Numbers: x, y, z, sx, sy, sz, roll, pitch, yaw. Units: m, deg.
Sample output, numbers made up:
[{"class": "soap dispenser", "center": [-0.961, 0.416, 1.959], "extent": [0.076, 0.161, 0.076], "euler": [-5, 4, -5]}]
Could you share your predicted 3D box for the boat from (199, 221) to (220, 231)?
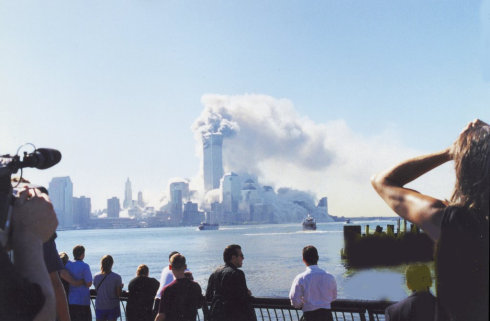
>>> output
[{"class": "boat", "center": [-12.842, 22.512, 226.352], "extent": [2.957, 4.270, 11.815], "euler": [-8, -16, 27]}]
